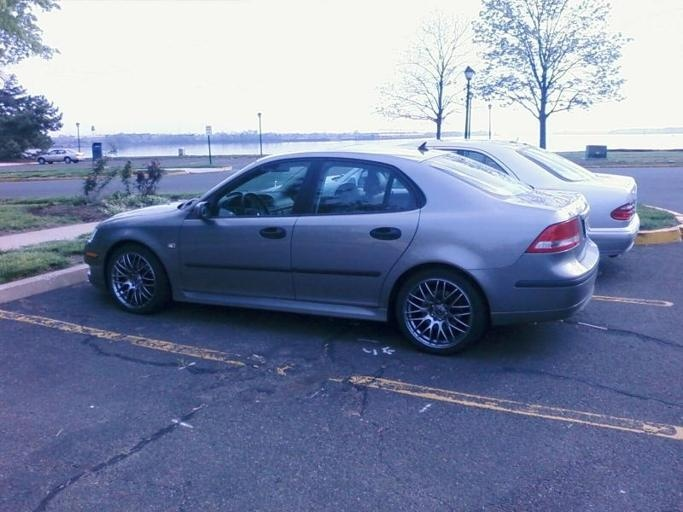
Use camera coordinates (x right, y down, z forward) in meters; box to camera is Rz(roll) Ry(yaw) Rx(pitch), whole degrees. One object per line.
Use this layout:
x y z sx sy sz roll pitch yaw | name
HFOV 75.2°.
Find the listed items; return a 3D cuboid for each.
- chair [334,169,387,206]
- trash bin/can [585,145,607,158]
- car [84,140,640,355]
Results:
0.179 -0.723 4.625 0.536 0.337 0.242 2 -8 -2 | chair
20.937 -8.732 36.747 1.490 1.009 0.784 0 8 0 | trash bin/can
-0.084 -0.195 5.431 5.246 1.657 2.423 4 8 17 | car
